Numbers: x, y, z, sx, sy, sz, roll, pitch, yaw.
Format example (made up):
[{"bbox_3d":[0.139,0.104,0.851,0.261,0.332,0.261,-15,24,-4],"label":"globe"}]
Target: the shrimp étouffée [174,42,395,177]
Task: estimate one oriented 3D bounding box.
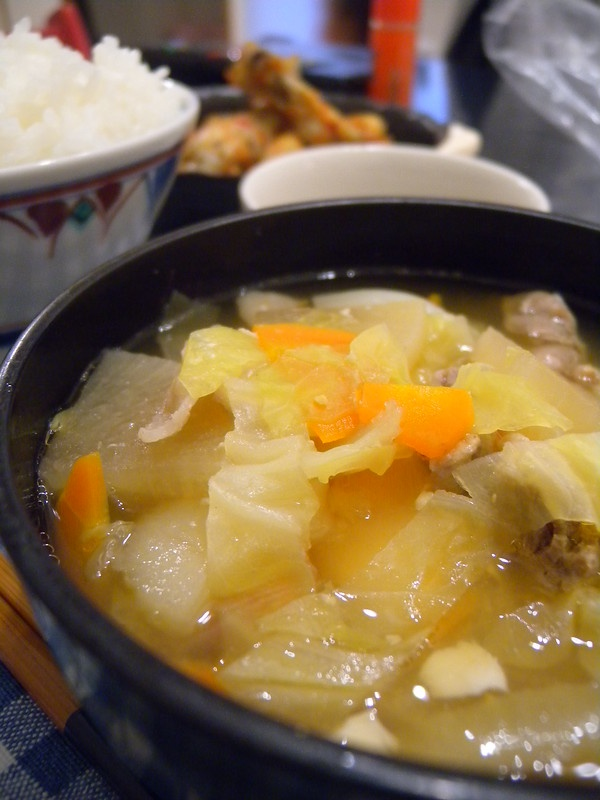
[{"bbox_3d":[-0.060,-0.715,2.151,0.601,0.243,0.406,10,50,11],"label":"shrimp étouffée"}]
